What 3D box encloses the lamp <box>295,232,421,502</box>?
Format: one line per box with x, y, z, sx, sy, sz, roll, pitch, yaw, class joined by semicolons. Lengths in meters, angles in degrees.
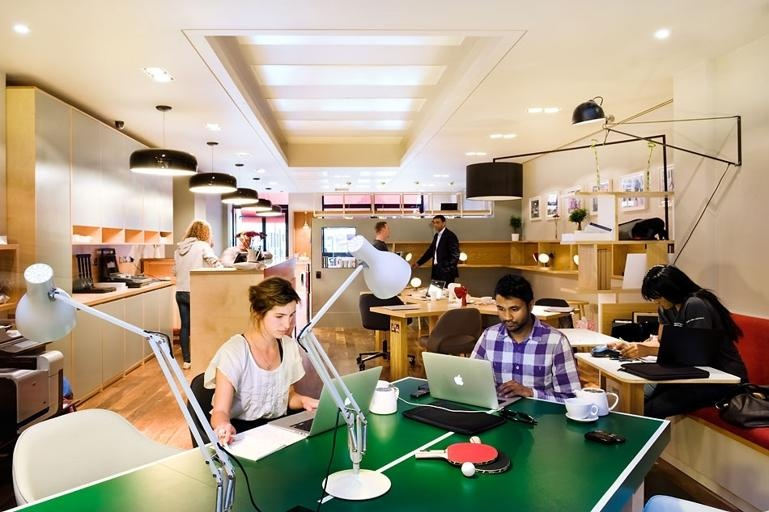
-0.156;0.556;2.765;0.556;1.310;0.509;1;2;1;lamp

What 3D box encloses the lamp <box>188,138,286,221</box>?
-2.394;-0.938;7.431;1.464;0.931;0.756;3;3;36;lamp

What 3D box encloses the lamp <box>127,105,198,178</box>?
-2.534;-1.325;6.066;0.769;0.806;0.758;1;-2;-43;lamp

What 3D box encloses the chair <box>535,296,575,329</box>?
2.076;0.686;6.375;0.411;0.465;0.379;-1;-6;11;chair

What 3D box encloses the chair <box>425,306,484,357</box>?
0.750;0.818;5.813;0.521;0.825;0.577;-2;4;-22;chair

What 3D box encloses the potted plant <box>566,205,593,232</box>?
2.769;-0.549;7.499;0.312;0.329;0.328;-1;4;27;potted plant

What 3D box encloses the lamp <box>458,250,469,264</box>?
1.427;0.029;9.656;0.268;0.338;0.142;1;-3;-14;lamp

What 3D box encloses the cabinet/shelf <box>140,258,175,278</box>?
-3.633;0.204;8.400;0.321;0.288;0.182;1;3;-7;cabinet/shelf

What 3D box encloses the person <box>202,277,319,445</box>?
-0.806;0.683;3.438;0.750;0.983;0.901;4;-2;32;person

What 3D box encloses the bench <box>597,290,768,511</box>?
2.188;1.055;4.195;1.064;0.820;1.741;-4;8;-7;bench

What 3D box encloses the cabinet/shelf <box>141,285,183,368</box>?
-2.589;0.772;6.083;0.373;1.040;1.151;-1;0;-10;cabinet/shelf

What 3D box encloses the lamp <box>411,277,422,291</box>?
0.518;0.413;7.776;0.199;0.225;0.194;0;-4;-16;lamp

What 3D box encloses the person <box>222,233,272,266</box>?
-2.302;-0.124;8.632;0.838;0.624;0.886;2;5;-7;person

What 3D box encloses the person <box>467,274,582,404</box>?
0.947;0.647;3.864;0.902;0.933;0.626;-3;-1;36;person

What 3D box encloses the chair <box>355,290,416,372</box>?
-0.113;1.031;7.068;0.610;0.781;0.645;-5;-7;1;chair

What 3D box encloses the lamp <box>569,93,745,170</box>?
2.797;-1.294;5.550;1.437;0.910;2.061;2;2;22;lamp

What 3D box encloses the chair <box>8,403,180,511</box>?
-1.811;1.029;3.150;0.648;0.762;0.608;-14;-5;37;chair

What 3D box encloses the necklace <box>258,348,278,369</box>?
-0.774;0.689;3.524;0.133;0.123;0.031;-8;-4;-34;necklace

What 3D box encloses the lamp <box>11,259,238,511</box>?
-1.134;0.632;2.542;0.890;1.186;0.890;2;3;37;lamp
